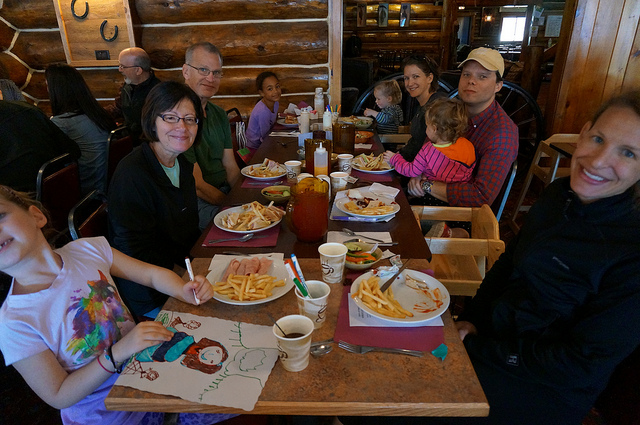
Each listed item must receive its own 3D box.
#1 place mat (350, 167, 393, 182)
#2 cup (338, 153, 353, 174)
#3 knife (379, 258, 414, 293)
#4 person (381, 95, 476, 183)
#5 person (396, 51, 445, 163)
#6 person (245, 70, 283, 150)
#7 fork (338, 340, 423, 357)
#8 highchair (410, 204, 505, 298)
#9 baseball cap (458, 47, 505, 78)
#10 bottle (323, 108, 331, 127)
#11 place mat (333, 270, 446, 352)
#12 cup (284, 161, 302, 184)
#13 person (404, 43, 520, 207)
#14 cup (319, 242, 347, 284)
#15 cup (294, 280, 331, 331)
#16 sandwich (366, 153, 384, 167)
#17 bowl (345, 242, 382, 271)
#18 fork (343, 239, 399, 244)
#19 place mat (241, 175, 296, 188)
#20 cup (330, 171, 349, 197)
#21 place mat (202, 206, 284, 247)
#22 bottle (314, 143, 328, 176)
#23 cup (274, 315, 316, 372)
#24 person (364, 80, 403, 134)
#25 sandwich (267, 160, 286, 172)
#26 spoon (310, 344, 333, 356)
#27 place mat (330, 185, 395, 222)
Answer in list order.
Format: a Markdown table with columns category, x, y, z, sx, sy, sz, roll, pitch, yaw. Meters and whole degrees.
| category | x | y | z | sx | sy | sz | roll | pitch | yaw |
| --- | --- | --- | --- | --- | --- | --- | --- | --- | --- |
| place mat | 0.339 | -0.249 | 2.755 | 0.278 | 0.028 | 0.208 | 3 | 25 | 7 |
| cup | 0.164 | -0.329 | 2.782 | 0.116 | 0.121 | 0.116 | -2 | 22 | 1 |
| knife | 0.349 | 0.247 | 1.776 | 0.054 | 0.020 | 0.397 | 40 | 36 | 10 |
| person | 0.863 | -0.489 | 3.135 | 0.702 | 0.707 | 0.646 | -11 | 25 | -10 |
| person | 0.951 | -0.999 | 4.055 | 0.556 | 1.029 | 0.548 | 4 | 16 | 18 |
| person | -0.600 | -1.080 | 4.373 | 0.388 | 0.713 | 0.726 | -4 | 25 | -6 |
| fork | 0.219 | 0.506 | 1.520 | 0.309 | 0.029 | 0.036 | 2 | 25 | 5 |
| highchair | 0.775 | 0.187 | 2.452 | 0.412 | 0.449 | 0.569 | -1 | 25 | -1 |
| baseball cap | 1.192 | -1.086 | 2.999 | 0.291 | 0.199 | 0.249 | 4 | 25 | 9 |
| bottle | 0.057 | -0.771 | 3.405 | 0.059 | 0.117 | 0.090 | -1 | 25 | -1 |
| place mat | 0.271 | 0.361 | 1.543 | 0.226 | 0.003 | 0.200 | 1 | 39 | 4 |
| cup | -0.146 | -0.272 | 2.646 | 0.153 | 0.152 | 0.150 | 0 | 23 | 0 |
| person | 1.071 | -0.659 | 3.088 | 0.739 | 1.080 | 0.889 | -11 | 25 | -17 |
| cup | 0.053 | 0.207 | 1.830 | 0.151 | 0.156 | 0.154 | -1 | 26 | 0 |
| cup | -0.017 | 0.361 | 1.667 | 0.166 | 0.170 | 0.170 | -2 | 32 | 1 |
| sandwich | 0.377 | -0.357 | 2.849 | 0.083 | 0.030 | 0.078 | -33 | 22 | 30 |
| bowl | 0.191 | 0.184 | 1.878 | 0.125 | 0.055 | 0.124 | -1 | 30 | 1 |
| fork | 0.234 | 0.139 | 1.996 | 0.157 | 0.016 | 0.011 | 4 | 13 | -3 |
| place mat | -0.337 | -0.195 | 2.632 | 0.326 | 0.033 | 0.212 | 0 | 25 | 2 |
| cup | 0.119 | -0.175 | 2.475 | 0.121 | 0.113 | 0.108 | -7 | 26 | -14 |
| place mat | -0.431 | 0.054 | 2.146 | 0.394 | 0.014 | 0.409 | -10 | 39 | -18 |
| bottle | 0.003 | -0.305 | 2.484 | 0.075 | 0.150 | 0.057 | -3 | 25 | -5 |
| cup | -0.093 | 0.475 | 1.487 | 0.148 | 0.150 | 0.143 | -3 | 19 | 1 |
| person | 0.724 | -1.152 | 4.856 | 0.457 | 0.789 | 0.550 | -2 | 26 | 3 |
| sandwich | -0.286 | -0.306 | 2.774 | 0.103 | 0.036 | 0.073 | 3 | 28 | -10 |
| spoon | 0.002 | 0.503 | 1.521 | 0.057 | 0.012 | 0.036 | 0 | 48 | -2 |
| place mat | 0.247 | -0.058 | 2.351 | 0.344 | 0.060 | 0.395 | 3 | 25 | 8 |
